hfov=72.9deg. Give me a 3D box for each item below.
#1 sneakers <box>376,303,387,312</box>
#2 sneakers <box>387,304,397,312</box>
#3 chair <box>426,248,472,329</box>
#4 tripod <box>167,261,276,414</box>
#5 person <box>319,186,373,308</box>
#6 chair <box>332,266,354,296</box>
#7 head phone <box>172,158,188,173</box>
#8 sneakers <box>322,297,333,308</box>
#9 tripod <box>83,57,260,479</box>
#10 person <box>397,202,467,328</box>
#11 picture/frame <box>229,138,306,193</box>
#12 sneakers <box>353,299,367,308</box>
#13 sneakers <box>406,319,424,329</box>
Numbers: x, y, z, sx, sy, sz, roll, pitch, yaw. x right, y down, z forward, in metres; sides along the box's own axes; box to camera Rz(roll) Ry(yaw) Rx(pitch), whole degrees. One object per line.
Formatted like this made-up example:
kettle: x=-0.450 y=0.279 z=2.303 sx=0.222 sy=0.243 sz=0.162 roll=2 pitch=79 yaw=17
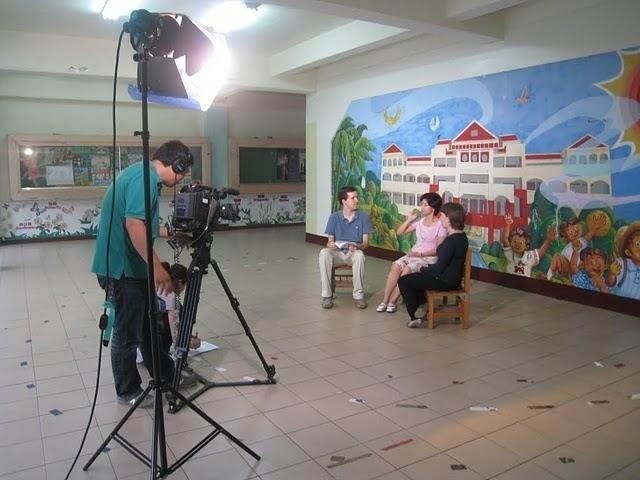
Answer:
sneakers: x=0.730 y=0.817 z=5.156 sx=0.126 sy=0.101 sz=0.097 roll=0 pitch=8 yaw=8
sneakers: x=0.863 y=0.824 z=5.153 sx=0.159 sy=0.096 sz=0.062 roll=-4 pitch=8 yaw=-24
chair: x=1.407 y=0.486 z=4.899 sx=0.515 sy=0.846 sz=0.641 roll=0 pitch=11 yaw=-1
tripod: x=-0.852 y=0.643 z=3.517 sx=0.974 sy=1.126 sz=0.841 roll=-7 pitch=-29 yaw=-13
person: x=0.318 y=0.084 z=5.516 sx=0.650 sy=1.458 sz=0.738 roll=0 pitch=8 yaw=6
chair: x=0.318 y=0.541 z=6.014 sx=0.373 sy=0.406 sz=0.368 roll=1 pitch=8 yaw=6
head phone: x=-0.966 y=-0.505 z=3.048 sx=0.076 sy=0.096 sz=0.102 roll=10 pitch=-11 yaw=7
sneakers: x=0.090 y=0.777 z=5.325 sx=0.123 sy=0.130 sz=0.128 roll=-1 pitch=8 yaw=2
tripod: x=-1.078 y=0.155 z=2.655 sx=0.867 sy=2.356 sz=1.254 roll=-5 pitch=9 yaw=-30
person: x=1.265 y=0.254 z=4.852 sx=0.698 sy=1.366 sz=0.572 roll=5 pitch=15 yaw=26
picture/frame: x=-1.349 y=-1.964 z=11.964 sx=2.315 sy=1.506 sz=0.163 roll=-1 pitch=3 yaw=-24
sneakers: x=0.499 y=0.783 z=5.360 sx=0.157 sy=0.110 sz=0.201 roll=0 pitch=8 yaw=6
sneakers: x=1.018 y=0.906 z=4.621 sx=0.156 sy=0.063 sz=0.078 roll=1 pitch=3 yaw=1
